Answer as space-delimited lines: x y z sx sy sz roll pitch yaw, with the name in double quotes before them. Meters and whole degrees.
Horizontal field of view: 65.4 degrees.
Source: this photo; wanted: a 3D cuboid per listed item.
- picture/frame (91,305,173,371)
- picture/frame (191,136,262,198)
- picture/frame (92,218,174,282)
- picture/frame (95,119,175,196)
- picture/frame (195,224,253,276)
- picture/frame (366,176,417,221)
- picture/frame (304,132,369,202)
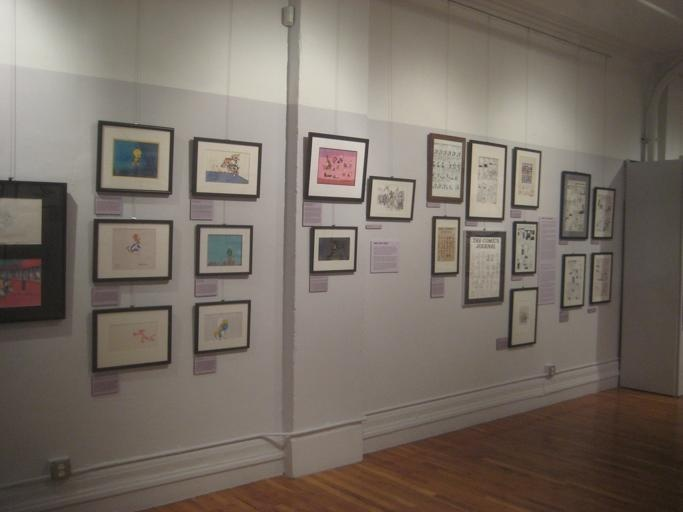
"picture/frame" -1.885 0.742 4.826 0.605 0.562 0.031 -1 -16 -22
"picture/frame" -1.145 -0.855 5.150 0.548 0.518 0.053 1 0 -33
"picture/frame" -1.913 -0.049 4.794 0.518 0.489 0.044 0 0 -31
"picture/frame" -1.885 -0.878 4.769 0.616 0.706 0.067 1 -1 -29
"picture/frame" -1.171 -0.059 5.182 0.451 0.447 0.037 -1 1 -32
"picture/frame" 0.545 -0.659 6.109 0.471 0.445 0.022 -2 5 -36
"picture/frame" -0.085 -0.950 5.642 0.675 0.711 0.050 2 4 -37
